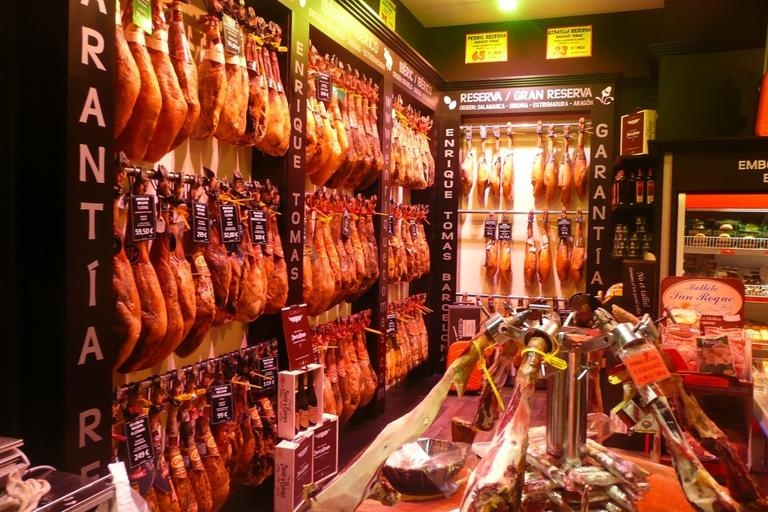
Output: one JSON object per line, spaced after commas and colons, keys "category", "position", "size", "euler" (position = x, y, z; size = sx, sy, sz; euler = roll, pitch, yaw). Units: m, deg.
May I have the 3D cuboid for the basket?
{"category": "basket", "position": [0.175, 0.834, 2.084], "size": [0.280, 0.120, 0.320], "euler": [2, 4, 20]}

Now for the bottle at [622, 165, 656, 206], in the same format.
{"category": "bottle", "position": [2.649, -0.733, 5.485], "size": [0.213, 0.406, 0.341], "euler": [0, 4, -16]}

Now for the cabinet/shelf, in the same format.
{"category": "cabinet/shelf", "position": [2.665, -0.436, 5.583], "size": [0.458, 1.139, 0.365], "euler": [7, -23, 25]}
